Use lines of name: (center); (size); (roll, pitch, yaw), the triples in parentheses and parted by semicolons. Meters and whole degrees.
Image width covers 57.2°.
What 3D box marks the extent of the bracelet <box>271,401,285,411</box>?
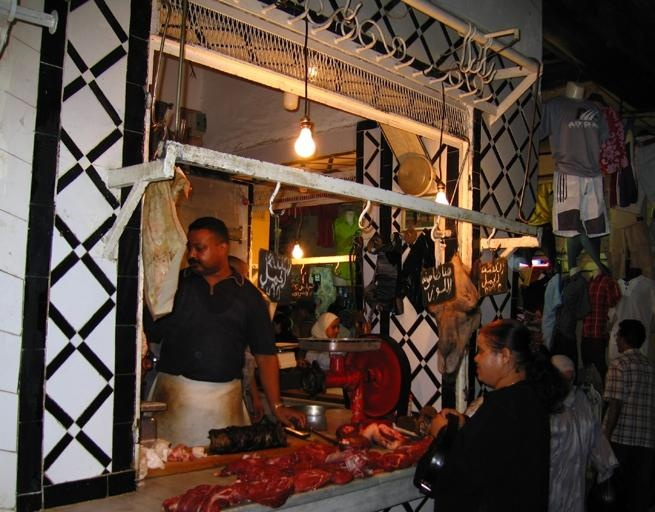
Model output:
bracelet: (-0.359, 1.059, 4.229); (0.098, 0.057, 0.108); (0, -8, 10)

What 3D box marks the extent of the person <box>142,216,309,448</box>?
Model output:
person: (-0.751, 0.775, 4.229); (1.167, 2.179, 0.901); (2, 31, -7)
